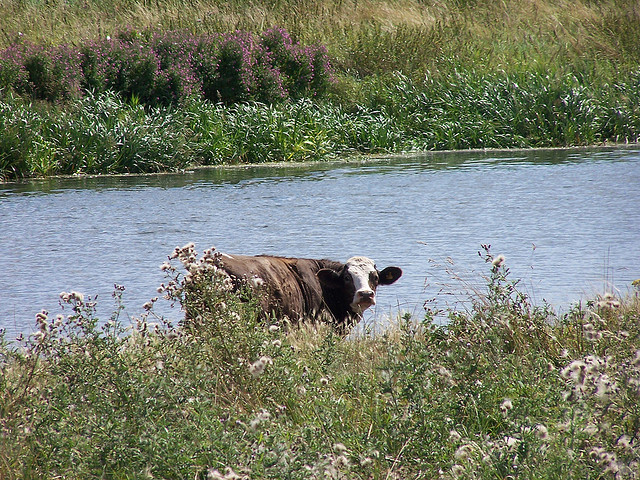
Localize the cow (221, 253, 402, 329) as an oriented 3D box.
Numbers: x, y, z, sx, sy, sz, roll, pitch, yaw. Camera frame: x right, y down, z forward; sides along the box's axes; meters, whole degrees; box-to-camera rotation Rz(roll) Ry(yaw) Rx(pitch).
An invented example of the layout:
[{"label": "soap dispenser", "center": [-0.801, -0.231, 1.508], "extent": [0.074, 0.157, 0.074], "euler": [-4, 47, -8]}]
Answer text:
[{"label": "cow", "center": [-0.161, 0.716, 17.736], "extent": [2.465, 1.362, 0.792], "euler": [-13, 13, -42]}]
